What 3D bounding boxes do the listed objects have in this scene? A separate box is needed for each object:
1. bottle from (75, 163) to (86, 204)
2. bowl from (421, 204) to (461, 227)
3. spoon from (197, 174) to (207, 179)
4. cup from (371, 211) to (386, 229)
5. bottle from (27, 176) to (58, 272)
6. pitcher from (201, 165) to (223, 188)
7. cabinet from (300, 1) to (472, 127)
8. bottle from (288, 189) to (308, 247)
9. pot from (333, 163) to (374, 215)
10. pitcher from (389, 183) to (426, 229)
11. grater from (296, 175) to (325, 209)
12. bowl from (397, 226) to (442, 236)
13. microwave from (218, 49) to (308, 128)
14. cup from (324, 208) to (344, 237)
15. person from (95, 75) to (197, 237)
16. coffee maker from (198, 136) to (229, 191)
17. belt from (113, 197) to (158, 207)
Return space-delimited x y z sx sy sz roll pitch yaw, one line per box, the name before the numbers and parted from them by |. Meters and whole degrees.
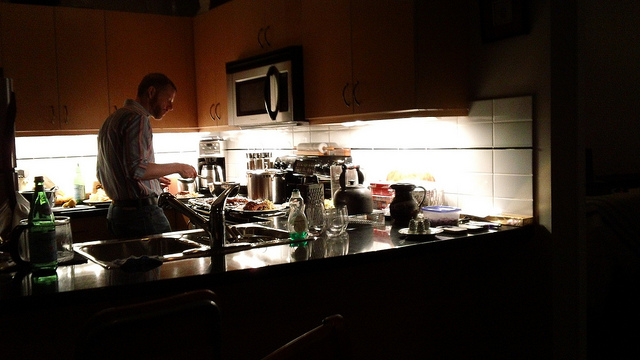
bottle | -2.358 0.040 4.239 0.087 0.268 0.338 -5 4 -27
bowl | 0.796 0.240 2.838 0.251 0.110 0.213 0 5 39
spoon | -1.233 -0.026 4.501 0.114 0.024 0.023 25 14 35
cup | 0.383 0.280 2.954 0.118 0.101 0.078 -2 -5 8
bottle | -1.424 0.229 2.214 0.123 0.365 0.129 -4 3 0
pitcher | -1.153 -0.053 4.592 0.303 0.274 0.161 3 -7 -22
cabinet | 0.352 -0.820 3.026 0.807 0.837 1.411 -13 12 -36
bottle | -0.136 0.250 2.573 0.109 0.253 0.169 -4 4 -3
pot | 0.322 0.066 3.024 0.357 0.363 0.343 -1 0 0
pitcher | 0.594 0.157 2.959 0.217 0.338 0.181 1 1 -11
grater | -0.108 0.134 3.278 0.212 0.313 0.208 4 7 35
bowl | 0.608 0.316 2.664 0.267 0.039 0.160 -2 4 12
microwave | -0.465 -0.744 3.749 0.519 0.592 0.979 -6 7 -38
cup | 0.082 0.263 2.646 0.164 0.206 0.146 0 -5 5
person | -1.335 -0.194 3.305 0.643 1.209 0.390 -5 4 -28
coffee maker | -1.123 -0.186 4.702 0.333 0.557 0.381 -4 10 -34
belt | -1.382 0.171 3.230 0.310 0.062 0.081 -4 4 -10
